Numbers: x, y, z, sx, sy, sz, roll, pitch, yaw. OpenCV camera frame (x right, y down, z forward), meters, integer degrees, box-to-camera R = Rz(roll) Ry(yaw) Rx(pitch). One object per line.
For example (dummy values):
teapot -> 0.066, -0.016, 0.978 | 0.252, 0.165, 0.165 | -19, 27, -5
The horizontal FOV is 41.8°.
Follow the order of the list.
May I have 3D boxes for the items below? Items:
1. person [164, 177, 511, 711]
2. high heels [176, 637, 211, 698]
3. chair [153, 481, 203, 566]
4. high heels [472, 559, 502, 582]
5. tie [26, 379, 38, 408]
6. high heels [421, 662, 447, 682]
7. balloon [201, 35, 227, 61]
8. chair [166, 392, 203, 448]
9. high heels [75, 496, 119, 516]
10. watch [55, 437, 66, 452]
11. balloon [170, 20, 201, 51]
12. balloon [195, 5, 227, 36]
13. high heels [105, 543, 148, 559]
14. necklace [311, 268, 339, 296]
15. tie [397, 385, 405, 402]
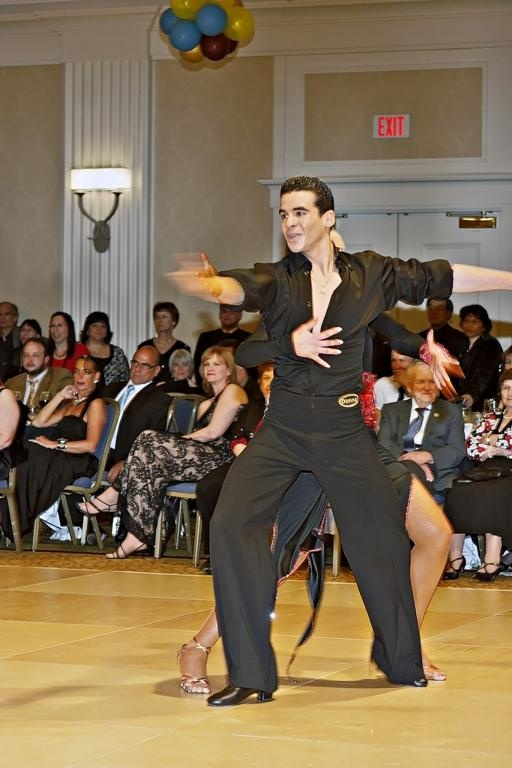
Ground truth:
person -> 0.207, 0.174, 1.601 | 0.882, 1.341, 0.456 | -1, 2, -19
high heels -> -0.164, 0.754, 1.770 | 0.059, 0.072, 0.181 | 1, -2, -4
chair -> -0.542, 0.955, 4.634 | 0.388, 0.441, 0.418 | 7, -24, -11
high heels -> 1.355, 1.114, 3.947 | 0.079, 0.071, 0.193 | -3, 14, 32
tie -> -1.995, 0.092, 5.985 | 0.155, 0.195, 0.051 | -5, -19, 32
high heels -> 0.501, 0.816, 1.897 | 0.041, 0.028, 0.075 | -3, -6, -20
balloon -> -0.428, -3.530, 7.056 | 0.250, 0.224, 0.264 | -12, 43, -6
chair -> -0.567, 0.237, 5.211 | 0.288, 0.432, 0.325 | 5, -2, 18
high heels -> -1.173, 0.911, 4.997 | 0.337, 0.085, 0.123 | 0, 42, -4
watch -> -1.448, 0.453, 4.991 | 0.071, 0.087, 0.034 | 2, -7, 6
balloon -> -0.743, -3.582, 6.979 | 0.331, 0.342, 0.310 | 2, 12, -15
balloon -> -0.444, -3.731, 6.838 | 0.328, 0.282, 0.240 | -1, 2, -17
high heels -> -0.866, 1.161, 4.637 | 0.322, 0.115, 0.112 | 2, 1, -2
necklace -> 0.173, -0.254, 1.651 | 0.071, 0.061, 0.020 | -2, -10, -13
tie -> 1.132, 0.066, 5.165 | 0.101, 0.106, 0.128 | -3, 8, 12
